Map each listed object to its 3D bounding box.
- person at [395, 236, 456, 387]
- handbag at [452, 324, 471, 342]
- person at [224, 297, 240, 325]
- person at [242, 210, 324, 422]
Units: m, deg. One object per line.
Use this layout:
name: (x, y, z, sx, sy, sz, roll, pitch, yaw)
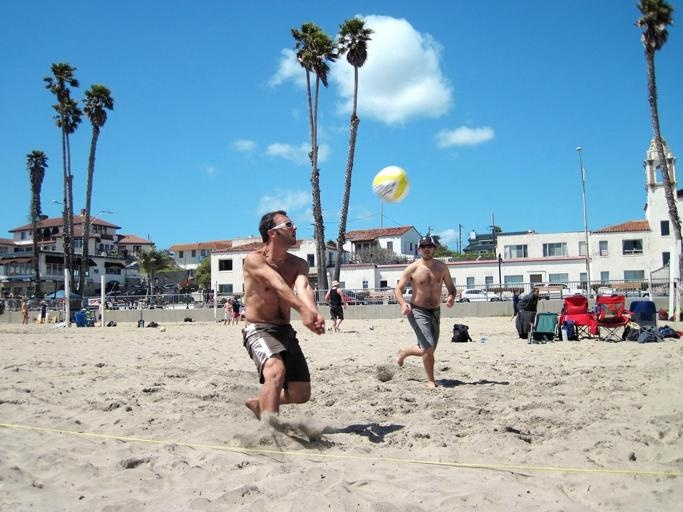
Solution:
person: (1.128, 0.765, 9.249, 0.791, 2.067, 0.928, 1, 10, 3)
handbag: (2.528, 1.661, 14.504, 0.380, 0.411, 0.345, 3, -32, -6)
person: (-3.930, 2.035, 24.946, 0.516, 1.065, 1.310, -1, 10, -9)
person: (-0.620, 0.609, 7.142, 0.671, 2.060, 0.947, -4, 10, -22)
